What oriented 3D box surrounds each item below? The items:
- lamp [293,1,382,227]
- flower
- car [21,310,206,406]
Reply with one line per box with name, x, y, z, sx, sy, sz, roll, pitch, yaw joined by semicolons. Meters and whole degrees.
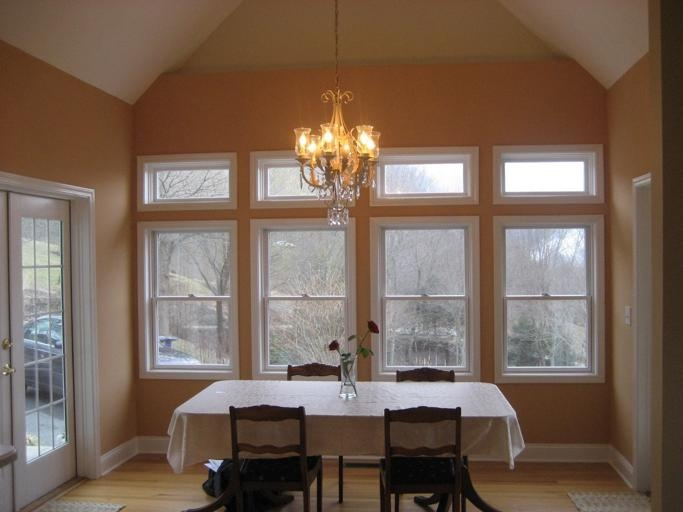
lamp;-0.007;-1.304;5.843;0.852;2.198;1.892;-2;-3;-4
flower;0.140;0.956;6.099;0.590;0.868;0.443;1;-1;15
car;-2.207;0.998;6.230;1.403;0.730;0.912;1;-5;-3
